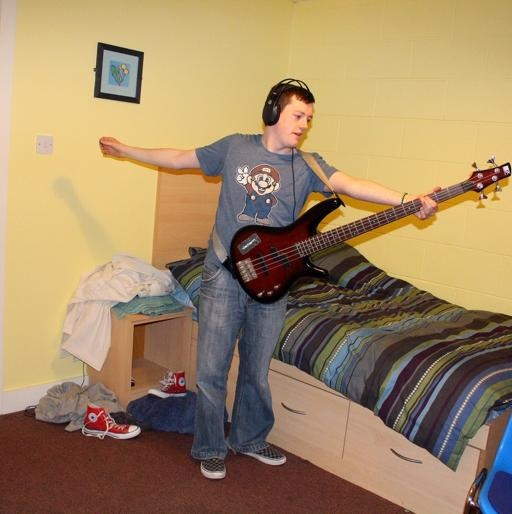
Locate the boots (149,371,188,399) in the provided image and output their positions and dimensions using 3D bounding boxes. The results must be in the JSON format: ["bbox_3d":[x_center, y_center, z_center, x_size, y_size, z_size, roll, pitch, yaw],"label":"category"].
[{"bbox_3d":[-0.440,0.660,2.297,0.218,0.124,0.090,4,-7,-10],"label":"boots"}]

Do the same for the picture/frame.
[{"bbox_3d":[-0.714,-0.955,2.322,0.283,0.267,0.022,16,20,16],"label":"picture/frame"}]

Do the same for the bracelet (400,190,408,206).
[{"bbox_3d":[0.527,-0.205,1.564,0.026,0.041,0.011,9,-11,10],"label":"bracelet"}]

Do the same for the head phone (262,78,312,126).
[{"bbox_3d":[0.130,-0.571,1.617,0.159,0.142,0.059,-2,25,-12],"label":"head phone"}]

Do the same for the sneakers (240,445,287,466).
[{"bbox_3d":[0.034,0.852,1.949,0.196,0.068,0.078,1,-4,28],"label":"sneakers"}]
